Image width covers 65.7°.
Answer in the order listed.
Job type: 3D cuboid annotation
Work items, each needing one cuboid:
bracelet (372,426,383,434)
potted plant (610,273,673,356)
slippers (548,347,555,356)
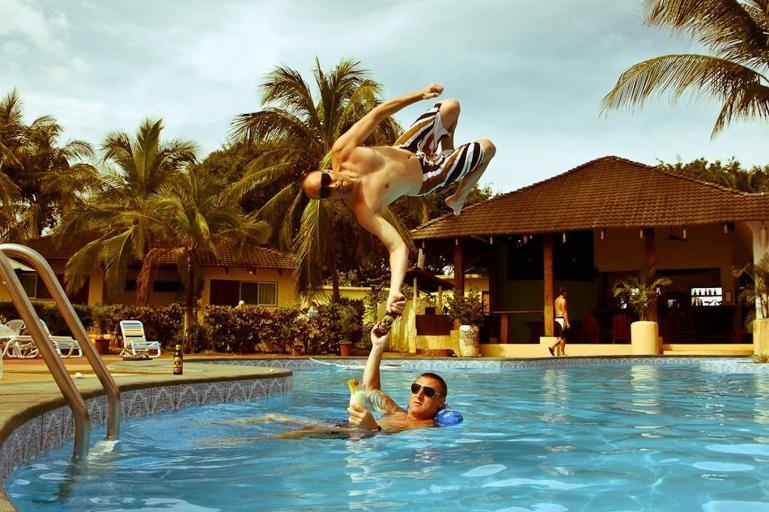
[{"bbox_3d":[-0.077,1.801,6.146,0.096,0.106,0.024,-17,4,-12],"label":"bracelet"},{"bbox_3d":[8.346,1.997,19.464,2.337,2.700,1.984,4,-7,-31],"label":"potted plant"},{"bbox_3d":[5.106,2.921,18.301,0.199,0.231,0.551,1,-5,13],"label":"slippers"}]
